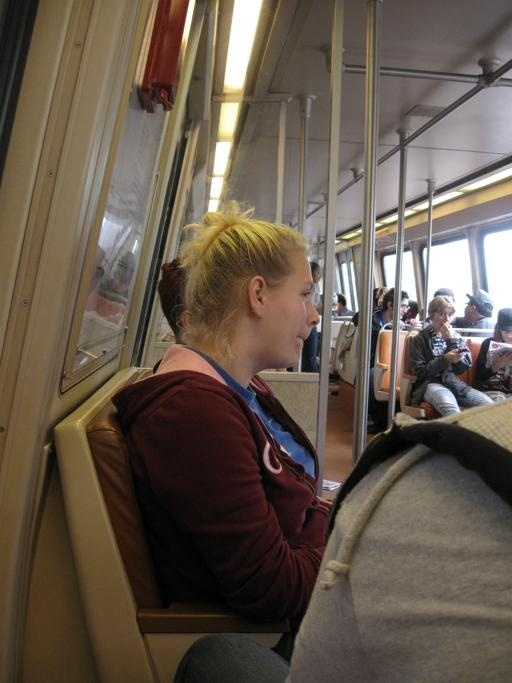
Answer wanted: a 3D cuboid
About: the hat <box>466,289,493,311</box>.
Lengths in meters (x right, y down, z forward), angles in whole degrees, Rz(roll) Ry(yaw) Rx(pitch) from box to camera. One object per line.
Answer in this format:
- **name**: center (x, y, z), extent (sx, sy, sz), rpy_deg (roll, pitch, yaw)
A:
- **hat**: center (2.770, -0.509, 6.475), extent (0.217, 0.335, 0.169), rpy_deg (-2, -42, -25)
